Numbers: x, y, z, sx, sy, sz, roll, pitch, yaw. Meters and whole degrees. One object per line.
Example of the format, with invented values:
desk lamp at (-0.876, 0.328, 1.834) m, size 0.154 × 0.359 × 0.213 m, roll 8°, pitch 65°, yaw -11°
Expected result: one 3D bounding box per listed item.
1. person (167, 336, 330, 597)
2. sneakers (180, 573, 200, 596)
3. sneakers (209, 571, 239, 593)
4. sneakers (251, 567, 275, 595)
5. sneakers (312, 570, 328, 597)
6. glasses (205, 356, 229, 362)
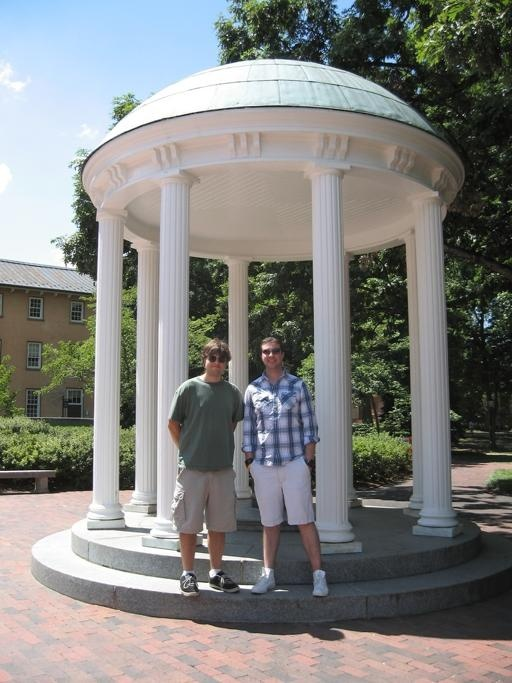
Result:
person at (-0.091, 1.024, 5.525) m, size 1.313 × 2.122 × 0.411 m, roll 0°, pitch -3°, yaw 2°
sneakers at (-0.555, 1.989, 5.294) m, size 0.163 × 0.163 × 0.167 m, roll 0°, pitch -3°, yaw -1°
sneakers at (-0.284, 2.021, 5.451) m, size 0.107 × 0.107 × 0.290 m, roll 7°, pitch -14°, yaw -37°
sneakers at (0.058, 1.988, 5.416) m, size 0.153 × 0.188 × 0.333 m, roll -1°, pitch -3°, yaw 13°
sneakers at (0.523, 1.987, 5.328) m, size 0.125 × 0.190 × 0.190 m, roll 0°, pitch -3°, yaw 6°
glasses at (-0.311, 0.154, 5.472) m, size 0.206 × 0.056 × 0.082 m, roll 2°, pitch -3°, yaw -29°
